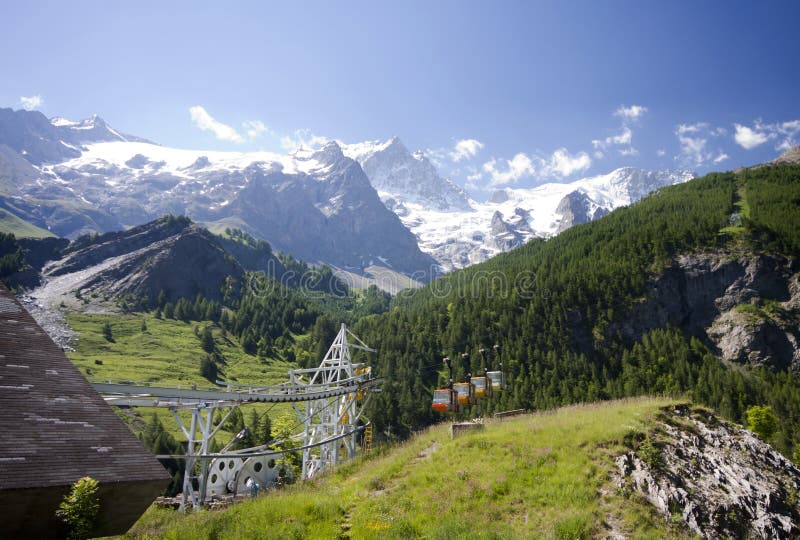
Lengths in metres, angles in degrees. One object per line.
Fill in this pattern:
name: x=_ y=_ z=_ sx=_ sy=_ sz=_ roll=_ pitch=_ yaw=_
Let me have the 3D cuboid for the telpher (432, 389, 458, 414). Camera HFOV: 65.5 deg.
telpher: x=7.501 y=21.191 z=101.712 sx=3.792 sy=3.799 sz=1.916 roll=-7 pitch=-11 yaw=8

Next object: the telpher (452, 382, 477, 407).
telpher: x=11.171 y=20.855 z=103.841 sx=3.553 sy=3.432 sz=3.785 roll=-9 pitch=-8 yaw=17

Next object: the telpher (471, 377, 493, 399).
telpher: x=13.559 y=19.579 z=104.249 sx=2.968 sy=3.131 sz=4.154 roll=-9 pitch=-18 yaw=27

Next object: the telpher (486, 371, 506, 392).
telpher: x=17.212 y=19.177 z=107.401 sx=2.924 sy=3.461 sz=4.534 roll=-16 pitch=-24 yaw=30
